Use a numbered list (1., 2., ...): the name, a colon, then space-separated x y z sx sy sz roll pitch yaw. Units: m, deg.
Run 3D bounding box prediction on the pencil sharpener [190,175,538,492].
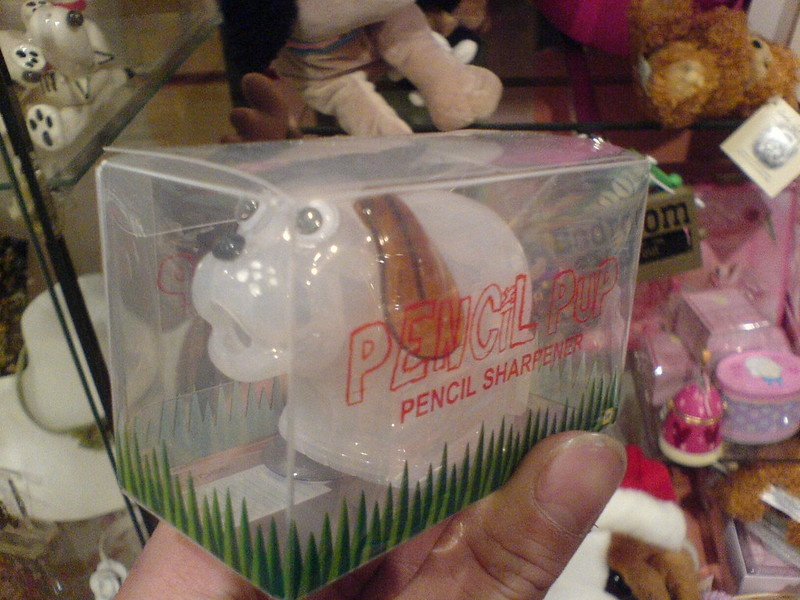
1. pencil sharpener: -0.021 0.012 0.925 0.400 0.323 0.301 -4 15 -29
